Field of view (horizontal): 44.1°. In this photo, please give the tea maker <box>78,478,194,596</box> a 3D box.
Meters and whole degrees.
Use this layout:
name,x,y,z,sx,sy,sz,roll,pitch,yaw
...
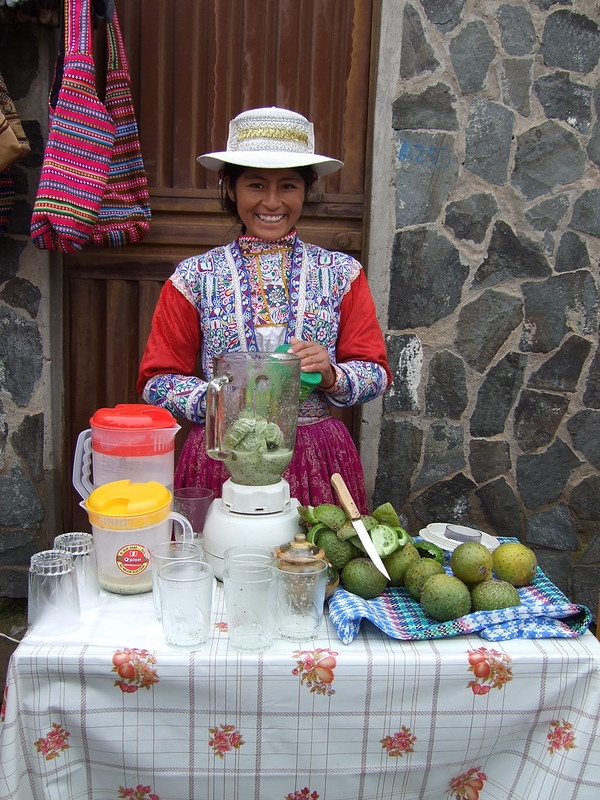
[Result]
name,x,y,z,sx,sy,sz,roll,pitch,yaw
tea maker,-0.302,0.261,1.449,0.242,0.182,0.174,3,9,-3

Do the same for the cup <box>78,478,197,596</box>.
name,x,y,z,sx,sy,sz,roll,pitch,yaw
cup,-0.316,0.260,1.447,0.242,0.181,0.174,3,10,-2

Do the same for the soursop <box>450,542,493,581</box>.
name,x,y,z,sx,sy,sz,roll,pitch,yaw
soursop,0.317,0.300,1.367,0.055,0.051,0.062,38,-7,-14

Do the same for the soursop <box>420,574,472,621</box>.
name,x,y,z,sx,sy,sz,roll,pitch,yaw
soursop,0.255,0.343,1.325,0.070,0.064,0.086,-13,2,-4

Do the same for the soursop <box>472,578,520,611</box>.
name,x,y,z,sx,sy,sz,roll,pitch,yaw
soursop,0.345,0.341,1.320,0.064,0.054,0.062,-12,-9,36

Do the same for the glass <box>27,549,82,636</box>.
name,x,y,z,sx,sy,sz,roll,pitch,yaw
glass,-0.418,0.328,1.256,0.099,0.119,0.093,-2,-2,13

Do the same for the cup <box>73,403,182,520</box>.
name,x,y,z,sx,sy,sz,roll,pitch,yaw
cup,-0.375,0.152,1.614,0.248,0.241,0.174,1,4,16

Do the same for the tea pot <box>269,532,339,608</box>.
name,x,y,z,sx,sy,sz,roll,pitch,yaw
tea pot,0.011,0.298,1.317,0.131,0.109,0.122,1,-5,0

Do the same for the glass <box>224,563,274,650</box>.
name,x,y,z,sx,sy,sz,roll,pitch,yaw
glass,-0.083,0.335,1.215,0.096,0.119,0.081,0,-3,4

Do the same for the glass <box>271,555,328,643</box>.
name,x,y,z,sx,sy,sz,roll,pitch,yaw
glass,0.005,0.336,1.319,0.122,0.167,0.127,1,4,8

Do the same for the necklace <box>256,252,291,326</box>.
name,x,y,z,sx,sy,sz,roll,pitch,yaw
necklace,-0.077,-0.306,2.037,0.090,0.182,0.120,2,21,-6

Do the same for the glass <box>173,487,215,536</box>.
name,x,y,z,sx,sy,sz,roll,pitch,yaw
glass,-0.224,0.243,1.615,0.096,0.086,0.087,1,5,-4

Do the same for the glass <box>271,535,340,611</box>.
name,x,y,z,sx,sy,sz,roll,pitch,yaw
glass,0.011,0.303,1.307,0.131,0.110,0.122,1,-8,1

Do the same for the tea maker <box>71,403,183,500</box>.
name,x,y,z,sx,sy,sz,roll,pitch,yaw
tea maker,-0.375,0.095,1.678,0.271,0.254,0.183,3,14,6

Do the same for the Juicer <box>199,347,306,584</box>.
name,x,y,z,sx,sy,sz,roll,pitch,yaw
Juicer,-0.081,0.156,1.514,0.235,0.448,0.218,-7,-5,-6

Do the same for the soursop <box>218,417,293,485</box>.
name,x,y,z,sx,sy,sz,roll,pitch,yaw
soursop,-0.085,0.100,1.504,0.151,0.102,0.115,-7,17,-29

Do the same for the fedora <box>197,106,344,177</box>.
name,x,y,z,sx,sy,sz,roll,pitch,yaw
fedora,-0.080,-0.689,1.943,0.305,0.144,0.223,1,20,-6
